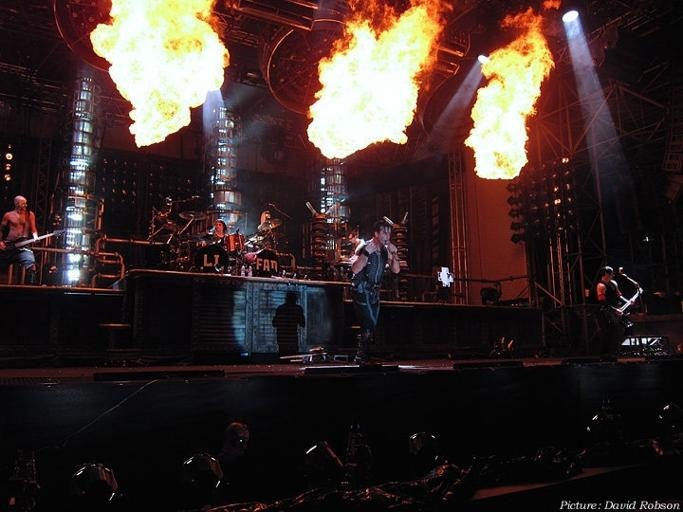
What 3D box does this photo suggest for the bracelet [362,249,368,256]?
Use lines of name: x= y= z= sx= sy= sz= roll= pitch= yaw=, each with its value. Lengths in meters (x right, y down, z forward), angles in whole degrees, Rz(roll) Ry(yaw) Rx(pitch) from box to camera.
bracelet: x=0.371 y=-0.045 z=9.850 sx=0.081 sy=0.066 sz=0.084 roll=0 pitch=-2 yaw=21

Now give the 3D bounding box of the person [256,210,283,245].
person: x=-2.066 y=-0.688 z=16.960 sx=0.372 sy=0.946 sz=0.786 roll=-16 pitch=5 yaw=37

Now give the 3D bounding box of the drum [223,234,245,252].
drum: x=-2.480 y=-0.309 z=14.523 sx=0.393 sy=0.391 sz=0.399 roll=-4 pitch=1 yaw=-18

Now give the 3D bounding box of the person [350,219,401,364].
person: x=0.437 y=0.530 z=9.926 sx=0.686 sy=2.117 sz=0.966 roll=12 pitch=11 yaw=16

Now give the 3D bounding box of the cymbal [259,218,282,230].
cymbal: x=-1.927 y=-0.819 z=16.875 sx=0.447 sy=0.349 sz=0.634 roll=15 pitch=13 yaw=25

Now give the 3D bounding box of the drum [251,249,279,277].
drum: x=-1.673 y=0.160 z=13.807 sx=0.541 sy=0.560 sz=0.579 roll=-2 pitch=7 yaw=-27
